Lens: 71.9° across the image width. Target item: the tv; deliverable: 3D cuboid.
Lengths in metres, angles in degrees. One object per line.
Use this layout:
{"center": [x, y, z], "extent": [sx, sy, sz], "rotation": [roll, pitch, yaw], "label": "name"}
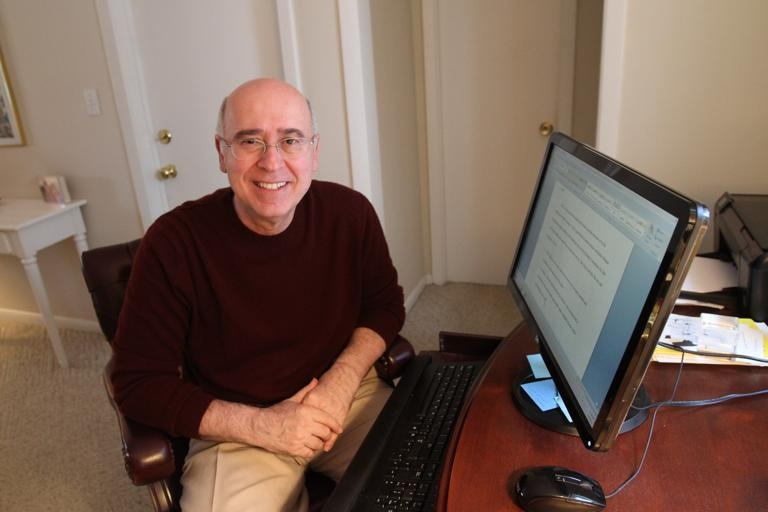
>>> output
{"center": [0.521, 0.056, 1.311], "extent": [0.240, 0.571, 0.525], "rotation": [-8, 27, -9], "label": "tv"}
